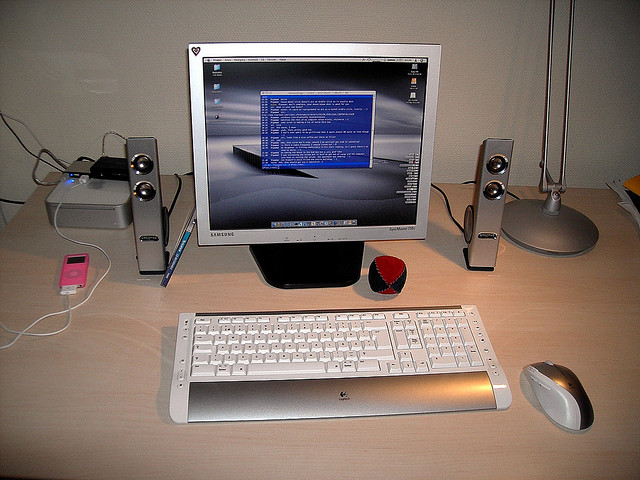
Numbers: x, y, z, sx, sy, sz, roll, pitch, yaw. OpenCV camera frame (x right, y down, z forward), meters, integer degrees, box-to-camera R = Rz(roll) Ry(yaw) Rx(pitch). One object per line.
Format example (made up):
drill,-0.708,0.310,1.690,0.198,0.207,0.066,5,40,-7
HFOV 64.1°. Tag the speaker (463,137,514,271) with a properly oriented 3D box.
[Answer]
speaker,0.409,-0.096,1.251,0.084,0.308,0.116,2,21,4

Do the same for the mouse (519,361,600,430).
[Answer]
mouse,0.446,0.277,0.979,0.087,0.050,0.139,-2,31,-23

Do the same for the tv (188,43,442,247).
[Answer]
tv,-0.023,-0.219,1.115,0.475,0.380,0.046,-1,21,-5

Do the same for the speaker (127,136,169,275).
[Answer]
speaker,-0.408,-0.080,1.200,0.083,0.318,0.109,-6,14,-20

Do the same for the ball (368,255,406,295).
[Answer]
ball,0.159,0.083,1.194,0.090,0.084,0.092,-2,7,0
